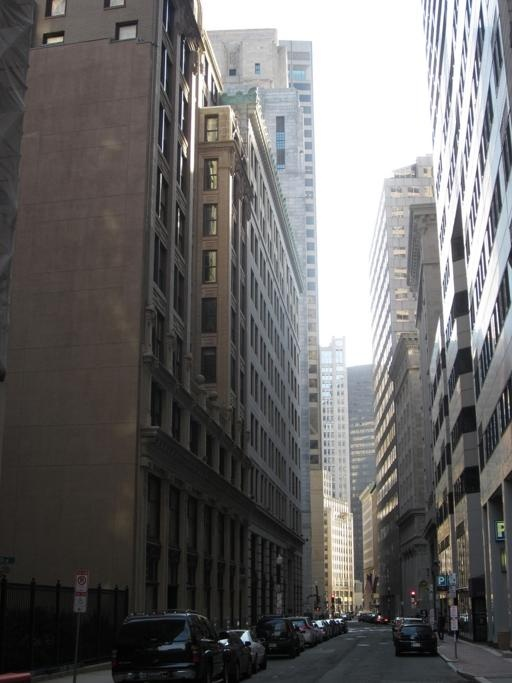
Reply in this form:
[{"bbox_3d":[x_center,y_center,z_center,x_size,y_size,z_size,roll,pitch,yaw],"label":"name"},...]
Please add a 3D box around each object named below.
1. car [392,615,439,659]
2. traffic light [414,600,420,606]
[{"bbox_3d":[6.856,13.182,32.110,0.988,1.442,3.170,-1,-6,4],"label":"car"},{"bbox_3d":[23.025,37.651,104.603,0.366,0.928,1.675,-3,-23,8],"label":"traffic light"}]
